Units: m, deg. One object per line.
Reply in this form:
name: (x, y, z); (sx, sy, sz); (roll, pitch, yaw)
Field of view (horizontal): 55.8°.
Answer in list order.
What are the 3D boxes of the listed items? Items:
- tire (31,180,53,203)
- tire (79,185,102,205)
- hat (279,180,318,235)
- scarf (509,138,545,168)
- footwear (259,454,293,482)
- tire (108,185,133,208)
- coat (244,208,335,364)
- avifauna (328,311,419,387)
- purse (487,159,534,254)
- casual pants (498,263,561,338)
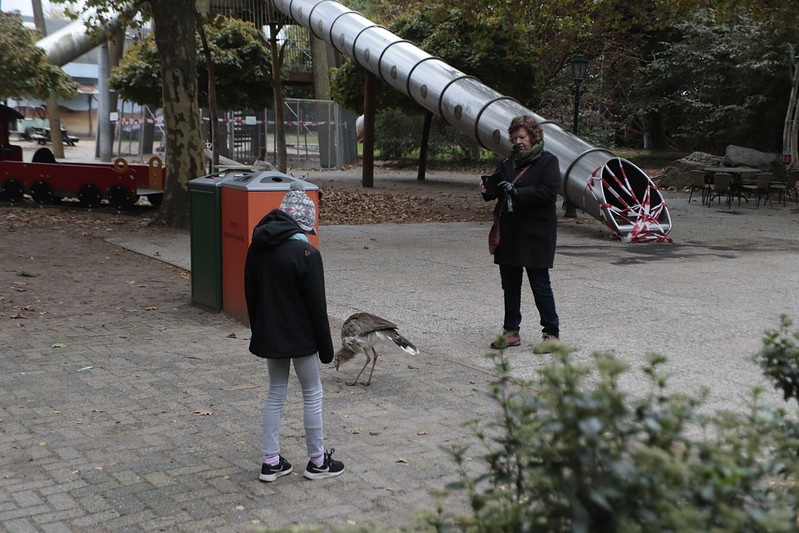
tire: (-9.235, -1.933, 19.376); (0.605, 0.589, 0.134); (4, 13, 17)
tire: (-7.927, -1.823, 19.200); (0.613, 0.579, 0.150); (2, 12, 8)
hat: (-0.854, -0.503, 6.175); (0.305, 0.369, 0.383); (-5, 4, -4)
scarf: (1.475, -1.307, 8.655); (0.323, 0.154, 0.274); (-25, 48, -12)
footwear: (-1.003, 1.625, 6.176); (0.123, 0.149, 0.334); (9, 12, 37)
tire: (-7.127, -1.777, 19.156); (0.698, 0.585, 0.139); (1, 12, 3)
coat: (-0.906, 0.181, 6.051); (0.699, 1.241, 0.382); (0, 12, 0)
avifauna: (-0.283, 0.834, 7.706); (1.000, 0.748, 0.330); (-8, -4, 32)
purse: (1.216, -0.727, 8.814); (0.296, 1.197, 0.330); (2, 13, -29)
casual pants: (1.473, 0.252, 8.619); (0.637, 1.692, 0.367); (1, 43, 15)
